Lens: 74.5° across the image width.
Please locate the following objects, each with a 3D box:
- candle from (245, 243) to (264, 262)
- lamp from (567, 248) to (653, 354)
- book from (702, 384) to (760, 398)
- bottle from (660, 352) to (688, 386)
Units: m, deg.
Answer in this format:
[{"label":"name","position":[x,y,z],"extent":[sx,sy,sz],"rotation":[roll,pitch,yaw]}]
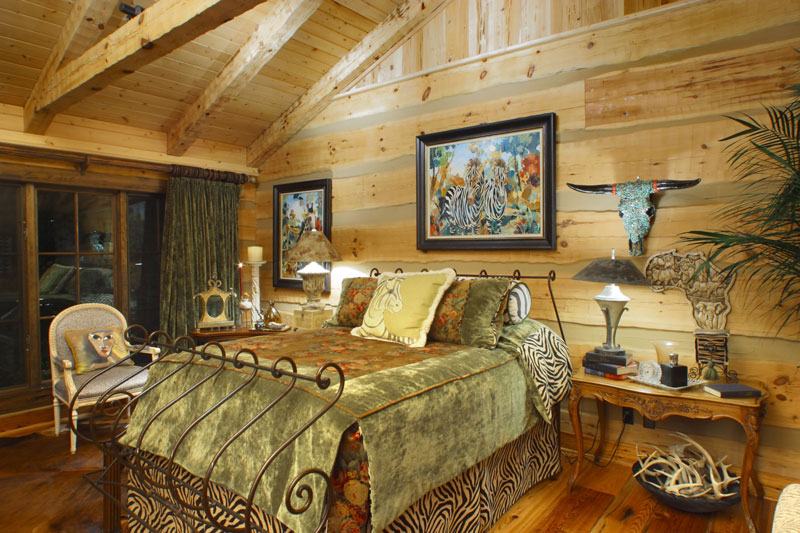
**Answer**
[{"label":"candle","position":[-1.589,-0.154,5.924],"extent":[0.237,0.179,0.214],"rotation":[2,-3,-5]},{"label":"lamp","position":[1.585,0.263,3.875],"extent":[0.432,0.706,0.365],"rotation":[-4,6,-31]},{"label":"book","position":[2.143,0.808,3.403],"extent":[0.308,0.064,0.101],"rotation":[0,4,2]},{"label":"bottle","position":[1.806,0.693,3.540],"extent":[0.139,0.213,0.186],"rotation":[-4,5,-33]}]
